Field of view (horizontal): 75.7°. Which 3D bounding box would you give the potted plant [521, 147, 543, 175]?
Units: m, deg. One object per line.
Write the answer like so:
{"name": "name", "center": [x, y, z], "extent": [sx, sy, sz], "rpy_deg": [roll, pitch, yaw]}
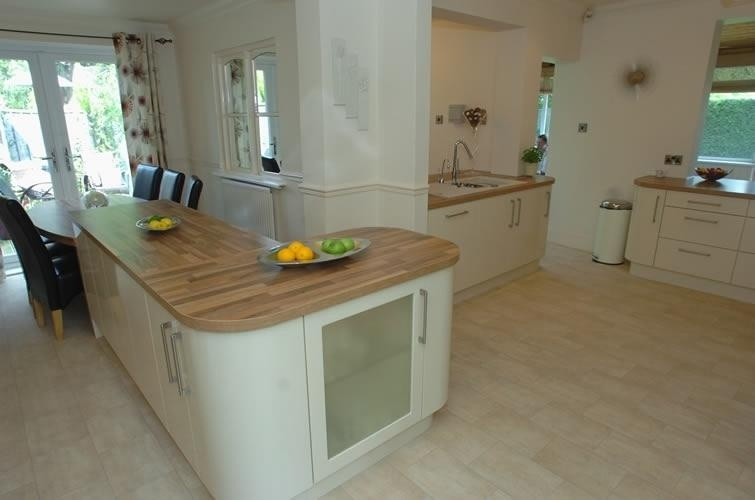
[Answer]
{"name": "potted plant", "center": [1.773, -1.022, 5.660], "extent": [0.228, 0.329, 0.237], "rpy_deg": [16, 25, 41]}

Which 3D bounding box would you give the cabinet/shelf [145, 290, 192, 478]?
{"name": "cabinet/shelf", "center": [-1.287, 0.838, 3.052], "extent": [0.130, 1.051, 0.519], "rpy_deg": [-16, 24, -35]}

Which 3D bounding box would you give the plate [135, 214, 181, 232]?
{"name": "plate", "center": [-1.664, -0.196, 3.720], "extent": [0.188, 0.056, 0.186], "rpy_deg": [-10, 25, -41]}

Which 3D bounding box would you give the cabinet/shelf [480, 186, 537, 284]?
{"name": "cabinet/shelf", "center": [1.361, -0.190, 5.147], "extent": [0.847, 0.787, 0.521], "rpy_deg": [-16, 22, -37]}

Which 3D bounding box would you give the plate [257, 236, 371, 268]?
{"name": "plate", "center": [-0.417, 0.046, 3.096], "extent": [0.396, 0.052, 0.307], "rpy_deg": [-12, 24, -26]}
